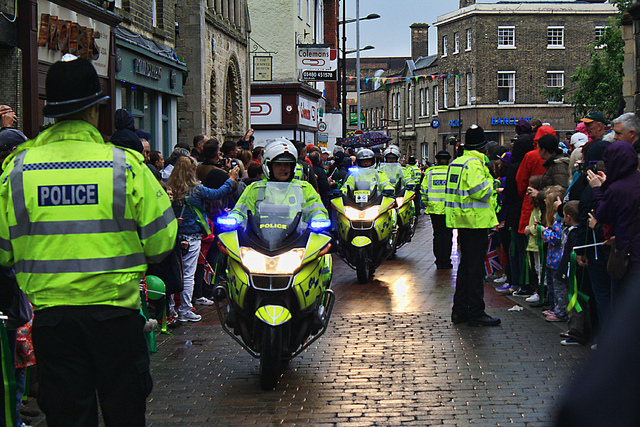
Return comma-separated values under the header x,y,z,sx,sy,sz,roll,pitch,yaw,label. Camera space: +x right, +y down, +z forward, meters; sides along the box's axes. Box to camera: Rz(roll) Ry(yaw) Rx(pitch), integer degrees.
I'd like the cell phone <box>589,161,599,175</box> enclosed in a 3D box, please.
x,y,z,sx,sy,sz,roll,pitch,yaw,label
3.283,-0.549,9.143,0.094,0.137,0.324,1,7,19,cell phone

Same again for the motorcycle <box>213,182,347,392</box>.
x,y,z,sx,sy,sz,roll,pitch,yaw,label
-0.409,0.757,8.393,1.265,2.155,1.001,-5,7,-34,motorcycle

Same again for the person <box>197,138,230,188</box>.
x,y,z,sx,sy,sz,roll,pitch,yaw,label
-1.722,-0.791,12.267,0.750,0.679,0.382,6,21,16,person

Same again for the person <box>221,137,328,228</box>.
x,y,z,sx,sy,sz,roll,pitch,yaw,label
-0.450,-0.317,8.888,1.247,1.449,0.928,0,0,-3,person

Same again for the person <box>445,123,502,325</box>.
x,y,z,sx,sy,sz,roll,pitch,yaw,label
2.109,0.160,10.567,0.714,2.708,0.811,-2,6,-12,person

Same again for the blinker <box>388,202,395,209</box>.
x,y,z,sx,sy,sz,roll,pitch,yaw,label
1.305,-0.136,13.936,0.082,0.106,0.262,1,7,17,blinker

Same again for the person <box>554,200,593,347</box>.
x,y,z,sx,sy,sz,roll,pitch,yaw,label
3.267,0.765,9.762,0.609,1.951,0.684,-1,-25,22,person

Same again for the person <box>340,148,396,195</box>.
x,y,z,sx,sy,sz,roll,pitch,yaw,label
0.898,-0.721,14.315,1.074,0.990,0.595,-4,-10,3,person

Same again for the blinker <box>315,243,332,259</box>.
x,y,z,sx,sy,sz,roll,pitch,yaw,label
0.038,0.407,8.101,0.156,0.052,0.091,-40,-6,-6,blinker

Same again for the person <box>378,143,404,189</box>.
x,y,z,sx,sy,sz,roll,pitch,yaw,label
1.563,-0.901,17.309,0.598,1.047,1.871,3,-12,5,person
